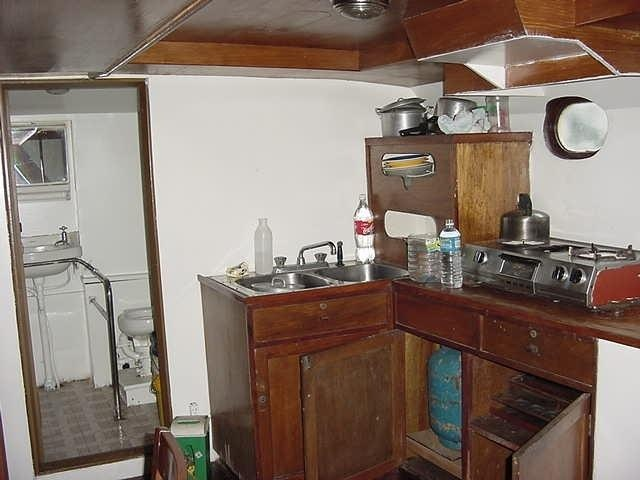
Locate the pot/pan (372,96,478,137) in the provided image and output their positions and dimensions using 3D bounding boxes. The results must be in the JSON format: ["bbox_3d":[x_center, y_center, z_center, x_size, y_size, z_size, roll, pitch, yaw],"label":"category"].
[{"bbox_3d":[0.588,-0.729,3.141,0.673,0.220,0.215,2,9,38],"label":"pot/pan"}]

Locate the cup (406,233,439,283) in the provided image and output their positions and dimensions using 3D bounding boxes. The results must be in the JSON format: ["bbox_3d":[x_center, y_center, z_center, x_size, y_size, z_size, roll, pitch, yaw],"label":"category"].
[{"bbox_3d":[0.566,0.098,2.932,0.170,0.236,0.233,-3,7,9],"label":"cup"}]

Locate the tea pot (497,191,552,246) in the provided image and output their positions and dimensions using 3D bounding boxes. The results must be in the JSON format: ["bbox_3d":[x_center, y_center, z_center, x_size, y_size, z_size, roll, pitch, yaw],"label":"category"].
[{"bbox_3d":[0.958,-0.101,2.738,0.294,0.258,0.260,-4,6,-26],"label":"tea pot"}]

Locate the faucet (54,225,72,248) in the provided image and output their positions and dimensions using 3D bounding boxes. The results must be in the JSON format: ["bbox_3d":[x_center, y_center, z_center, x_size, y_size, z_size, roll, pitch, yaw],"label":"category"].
[{"bbox_3d":[-2.182,-0.028,4.537,0.154,0.141,0.163,1,7,-23],"label":"faucet"}]

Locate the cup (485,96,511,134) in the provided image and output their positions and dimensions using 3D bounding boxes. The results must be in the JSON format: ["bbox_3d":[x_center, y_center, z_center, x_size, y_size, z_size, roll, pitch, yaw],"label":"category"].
[{"bbox_3d":[0.983,-0.700,2.961,0.129,0.206,0.126,-5,8,1],"label":"cup"}]

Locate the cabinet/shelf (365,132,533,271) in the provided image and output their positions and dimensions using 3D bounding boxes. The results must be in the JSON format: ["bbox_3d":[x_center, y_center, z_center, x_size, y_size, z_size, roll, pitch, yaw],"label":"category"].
[{"bbox_3d":[0.666,-0.297,3.401,0.856,1.001,1.181,-4,6,-24],"label":"cabinet/shelf"}]

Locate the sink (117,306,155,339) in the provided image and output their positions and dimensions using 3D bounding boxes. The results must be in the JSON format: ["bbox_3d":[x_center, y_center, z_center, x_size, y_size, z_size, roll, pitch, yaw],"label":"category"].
[{"bbox_3d":[-1.483,0.654,4.234,0.298,0.154,0.356,0,7,-17],"label":"sink"}]

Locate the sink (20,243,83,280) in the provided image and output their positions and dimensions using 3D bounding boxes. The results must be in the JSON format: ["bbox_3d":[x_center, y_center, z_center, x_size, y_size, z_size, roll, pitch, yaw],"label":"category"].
[{"bbox_3d":[-2.182,0.180,4.343,0.434,0.259,0.463,-7,7,-22],"label":"sink"}]
